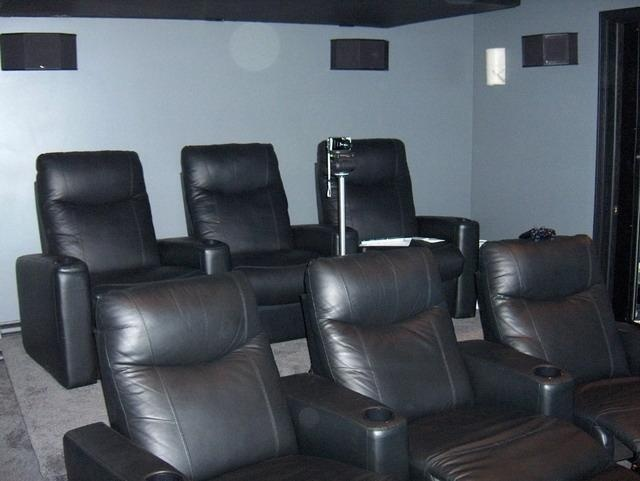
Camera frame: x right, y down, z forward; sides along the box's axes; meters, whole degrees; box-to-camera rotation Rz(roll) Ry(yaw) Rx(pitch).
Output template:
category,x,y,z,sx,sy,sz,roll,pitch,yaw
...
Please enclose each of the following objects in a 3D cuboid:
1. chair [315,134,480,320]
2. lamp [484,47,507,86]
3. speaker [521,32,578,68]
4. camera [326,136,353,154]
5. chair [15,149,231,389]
category,x,y,z,sx,sy,sz,roll,pitch,yaw
chair,0.528,-0.096,4.428,1.323,1.357,1.251,-1,13,6
lamp,1.303,-1.285,4.216,0.132,0.254,0.085,-3,10,25
speaker,1.612,-1.332,4.019,0.416,0.243,0.209,-8,10,-20
camera,0.105,-0.508,3.033,0.120,0.085,0.071,-9,9,-22
chair,-1.253,0.107,3.742,1.270,1.173,1.169,-4,19,-31
